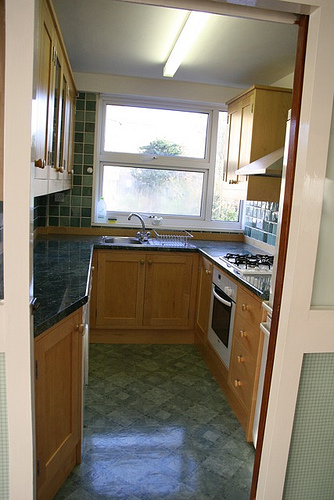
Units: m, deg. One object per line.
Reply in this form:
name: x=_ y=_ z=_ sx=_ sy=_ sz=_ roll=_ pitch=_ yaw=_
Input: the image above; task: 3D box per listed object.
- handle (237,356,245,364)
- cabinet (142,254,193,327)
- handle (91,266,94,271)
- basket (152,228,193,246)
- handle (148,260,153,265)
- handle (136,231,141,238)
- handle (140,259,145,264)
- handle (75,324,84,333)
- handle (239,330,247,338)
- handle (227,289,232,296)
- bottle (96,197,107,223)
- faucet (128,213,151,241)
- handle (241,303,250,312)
handle: x=0.460 y=0.682 z=2.225 sx=0.044 sy=0.025 sz=0.032 roll=7 pitch=9 yaw=31
cabinet: x=0.002 y=0.504 z=3.593 sx=0.403 sy=0.436 sz=0.770 roll=3 pitch=53 yaw=2
handle: x=-0.625 y=0.158 z=3.041 sx=0.015 sy=0.027 sz=0.027 roll=5 pitch=51 yaw=-7
basket: x=0.073 y=-0.142 z=3.735 sx=0.464 sy=0.144 sz=0.701 roll=4 pitch=6 yaw=-2
handle: x=-0.155 y=0.110 z=3.308 sx=0.026 sy=0.027 sz=0.014 roll=-26 pitch=-1 yaw=16
handle: x=-0.297 y=-0.163 z=3.754 sx=0.048 sy=0.076 sz=0.022 roll=2 pitch=-2 yaw=9
handle: x=-0.229 y=0.111 z=3.311 sx=0.037 sy=0.034 sz=0.015 roll=3 pitch=5 yaw=-8
handle: x=-0.401 y=0.360 z=1.648 sx=0.027 sy=0.041 sz=0.039 roll=1 pitch=-2 yaw=-4
handle: x=0.470 y=0.521 z=2.210 sx=0.014 sy=0.051 sz=0.031 roll=-13 pitch=22 yaw=-38
handle: x=0.434 y=0.292 z=2.481 sx=0.027 sy=0.055 sz=0.030 roll=-6 pitch=18 yaw=-20
bottle: x=-0.719 y=-0.440 z=3.977 sx=0.125 sy=0.276 sz=0.116 roll=4 pitch=5 yaw=0
faucet: x=-0.285 y=-0.241 z=3.767 sx=0.242 sy=0.277 sz=0.408 roll=4 pitch=5 yaw=-3
handle: x=0.481 y=0.350 z=2.191 sx=0.061 sy=0.024 sz=0.088 roll=-1 pitch=1 yaw=7
